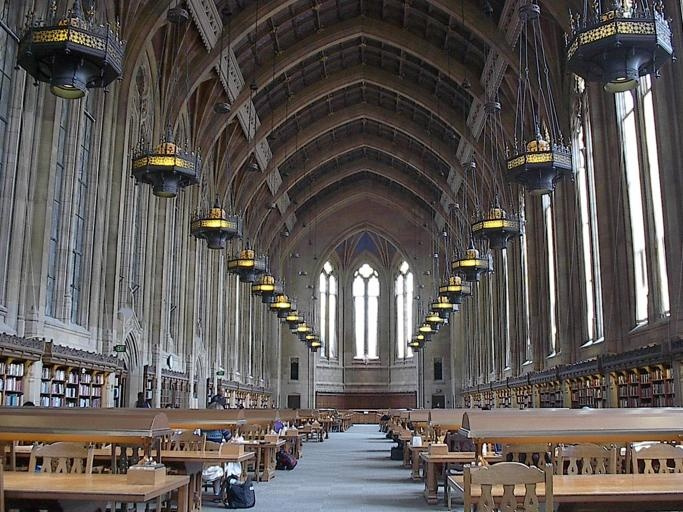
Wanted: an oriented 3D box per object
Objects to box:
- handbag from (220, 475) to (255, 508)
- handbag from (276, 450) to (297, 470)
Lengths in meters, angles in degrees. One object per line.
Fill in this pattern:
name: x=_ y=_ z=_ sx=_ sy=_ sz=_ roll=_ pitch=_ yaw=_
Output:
handbag: x=-2.055 y=4.845 z=16.612 sx=0.509 sy=0.648 sz=0.537 roll=0 pitch=-14 yaw=-1
handbag: x=-1.529 y=5.677 z=22.472 sx=0.434 sy=0.584 sz=0.452 roll=1 pitch=-10 yaw=-3
